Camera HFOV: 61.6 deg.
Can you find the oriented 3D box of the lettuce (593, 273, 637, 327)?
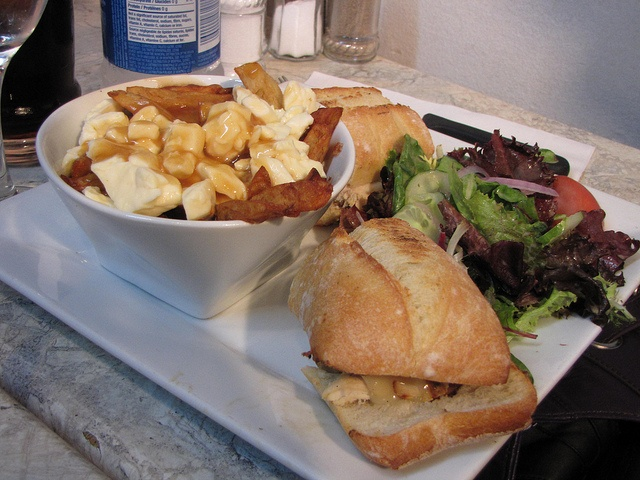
[{"bbox_3d":[0.553,0.117,1.052,0.076,0.040,0.106,-18,37,-18],"label":"lettuce"}]

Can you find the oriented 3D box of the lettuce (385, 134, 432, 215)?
[{"bbox_3d":[0.192,-0.144,1.184,0.116,0.172,0.038,-10,-9,23],"label":"lettuce"}]

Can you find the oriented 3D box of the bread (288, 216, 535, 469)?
[{"bbox_3d":[0.124,0.152,0.831,0.282,0.134,0.375,-20,48,-13],"label":"bread"}]

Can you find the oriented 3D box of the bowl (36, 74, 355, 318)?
[{"bbox_3d":[-0.249,-0.048,0.941,0.485,0.286,0.316,18,39,16],"label":"bowl"}]

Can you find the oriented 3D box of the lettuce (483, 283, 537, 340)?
[{"bbox_3d":[0.344,0.127,0.976,0.041,0.020,0.137,-26,25,-1],"label":"lettuce"}]
